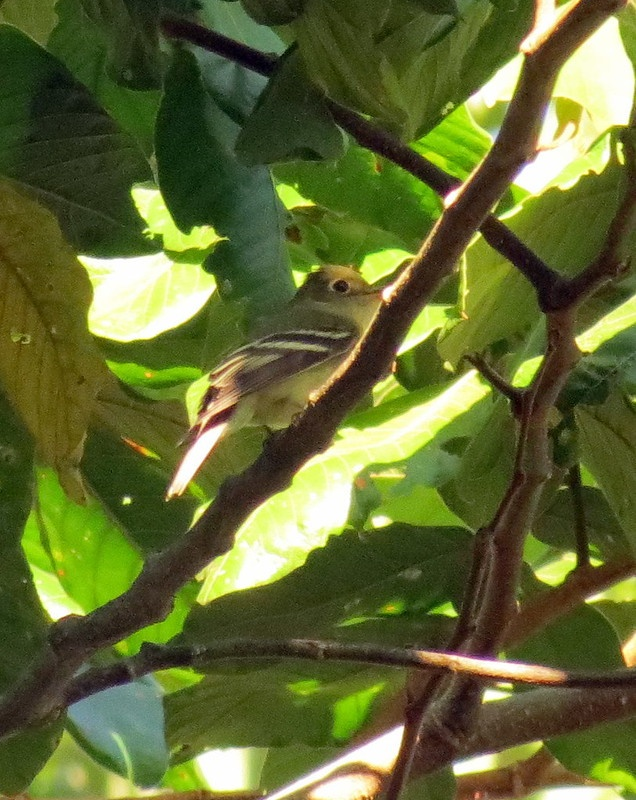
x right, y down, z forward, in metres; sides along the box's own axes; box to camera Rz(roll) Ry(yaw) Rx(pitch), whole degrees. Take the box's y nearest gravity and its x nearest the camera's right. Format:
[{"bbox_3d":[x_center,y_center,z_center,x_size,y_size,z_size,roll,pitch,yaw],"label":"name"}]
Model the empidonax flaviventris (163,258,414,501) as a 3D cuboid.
[{"bbox_3d":[-0.031,-0.034,1.375,0.121,0.402,0.159,15,-60,44],"label":"empidonax flaviventris"}]
